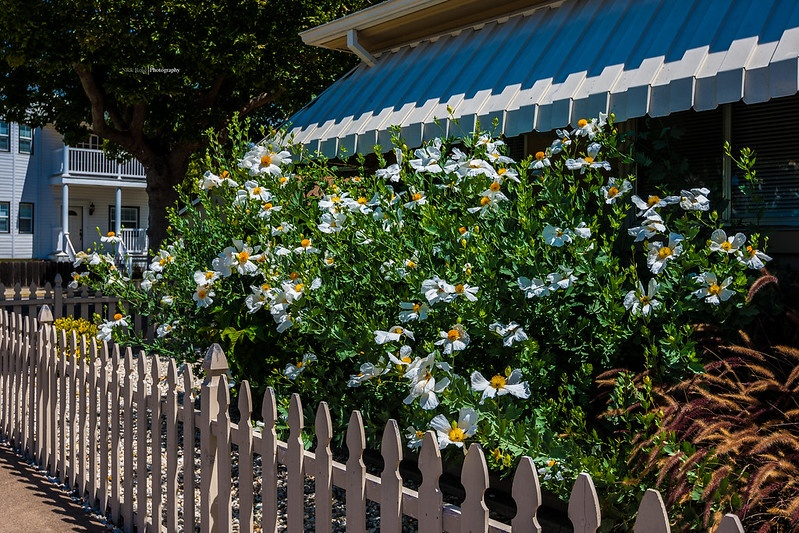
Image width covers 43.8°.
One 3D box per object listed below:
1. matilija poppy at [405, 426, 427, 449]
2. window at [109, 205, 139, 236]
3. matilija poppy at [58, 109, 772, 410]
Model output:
[{"bbox_3d":[0.150,1.669,9.580,0.153,0.213,0.338,1,7,-1],"label":"matilija poppy"},{"bbox_3d":[-10.032,-1.640,35.666,0.061,1.644,1.310,-4,-3,44],"label":"window"},{"bbox_3d":[0.333,-0.093,10.560,6.603,3.123,2.456,5,8,25],"label":"matilija poppy"}]
